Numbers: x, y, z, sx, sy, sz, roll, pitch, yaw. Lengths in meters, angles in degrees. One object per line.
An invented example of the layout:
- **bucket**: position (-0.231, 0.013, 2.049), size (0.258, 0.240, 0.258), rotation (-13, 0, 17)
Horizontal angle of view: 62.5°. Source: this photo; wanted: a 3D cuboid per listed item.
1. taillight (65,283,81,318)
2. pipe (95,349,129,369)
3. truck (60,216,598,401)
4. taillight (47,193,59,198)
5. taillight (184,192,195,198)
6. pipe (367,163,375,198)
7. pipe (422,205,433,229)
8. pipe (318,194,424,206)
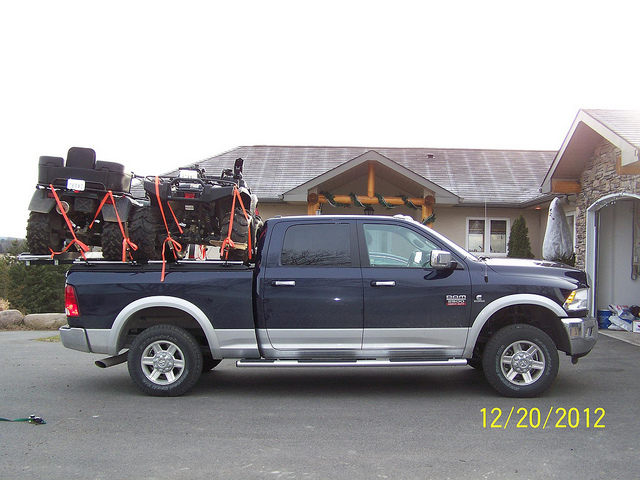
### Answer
- **taillight**: position (-3.286, 0.820, 6.998), size (0.243, 0.437, 0.064), rotation (0, 1, 26)
- **pipe**: position (-2.759, 1.624, 7.155), size (0.111, 0.155, 0.668), rotation (-37, -10, 12)
- **truck**: position (0.189, 0.923, 7.776), size (7.032, 1.996, 2.758), rotation (-1, -1, 2)
- **taillight**: position (-3.475, -0.579, 6.858), size (0.086, 0.069, 0.021), rotation (0, -1, 1)
- **taillight**: position (-1.782, -0.607, 7.225), size (0.133, 0.060, 0.031), rotation (0, 1, -14)
- **pipe**: position (1.601, -1.826, 16.261), size (0.196, 1.041, 0.441), rotation (0, 1, 3)
- **pipe**: position (3.355, -0.732, 16.318), size (0.307, 0.654, 1.011), rotation (0, 1, 13)
- **pipe**: position (1.604, -1.242, 16.454), size (3.253, 0.387, 0.931), rotation (0, 1, 7)
